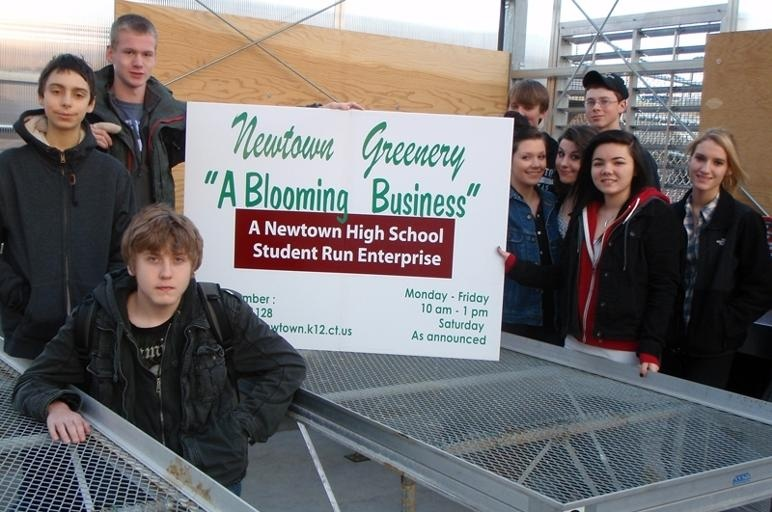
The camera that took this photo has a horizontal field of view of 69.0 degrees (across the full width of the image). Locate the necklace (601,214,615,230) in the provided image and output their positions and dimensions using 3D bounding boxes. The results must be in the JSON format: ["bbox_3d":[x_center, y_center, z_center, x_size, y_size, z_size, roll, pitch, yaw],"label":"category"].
[{"bbox_3d":[1.053,-0.162,2.673,0.018,0.073,0.076,33,30,-20],"label":"necklace"}]

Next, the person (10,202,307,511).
[{"bbox_3d":[-0.814,0.372,2.039,0.922,1.084,0.486,-6,11,-32],"label":"person"}]

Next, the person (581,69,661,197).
[{"bbox_3d":[1.461,-0.641,3.739,0.520,1.116,0.415,4,10,32],"label":"person"}]

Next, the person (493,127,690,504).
[{"bbox_3d":[1.034,-0.053,2.660,0.656,1.067,0.488,8,13,41],"label":"person"}]
